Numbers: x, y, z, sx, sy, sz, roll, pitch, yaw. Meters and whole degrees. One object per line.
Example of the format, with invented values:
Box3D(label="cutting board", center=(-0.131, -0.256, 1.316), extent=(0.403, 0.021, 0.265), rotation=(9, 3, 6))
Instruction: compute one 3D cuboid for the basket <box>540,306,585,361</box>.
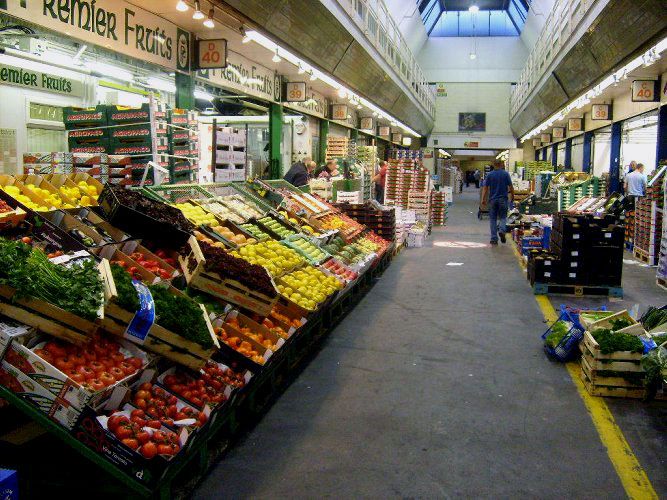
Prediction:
Box3D(label="basket", center=(2.685, 1.001, 5.479), extent=(0.379, 0.480, 0.547), rotation=(3, 10, 23))
